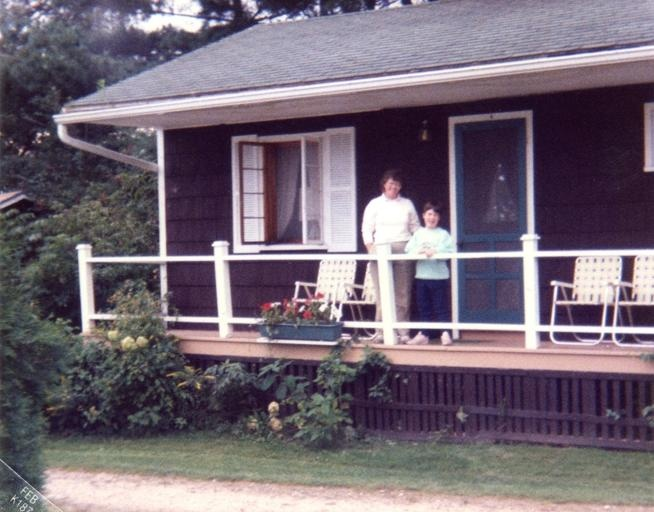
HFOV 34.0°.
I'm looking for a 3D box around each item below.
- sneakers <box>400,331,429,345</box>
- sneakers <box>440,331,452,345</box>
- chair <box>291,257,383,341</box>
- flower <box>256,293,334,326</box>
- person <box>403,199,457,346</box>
[{"bbox_3d":[1.110,1.020,13.213,0.407,0.166,0.138,1,-2,6],"label":"sneakers"},{"bbox_3d":[1.453,1.013,13.003,0.137,0.138,0.179,0,-8,0],"label":"sneakers"},{"bbox_3d":[-0.122,0.585,14.433,1.090,1.419,1.095,-1,-4,26],"label":"chair"},{"bbox_3d":[-0.371,0.692,13.296,0.701,0.240,0.446,-2,5,17],"label":"flower"},{"bbox_3d":[1.296,0.222,13.459,0.584,1.740,1.376,0,-1,6],"label":"person"}]
